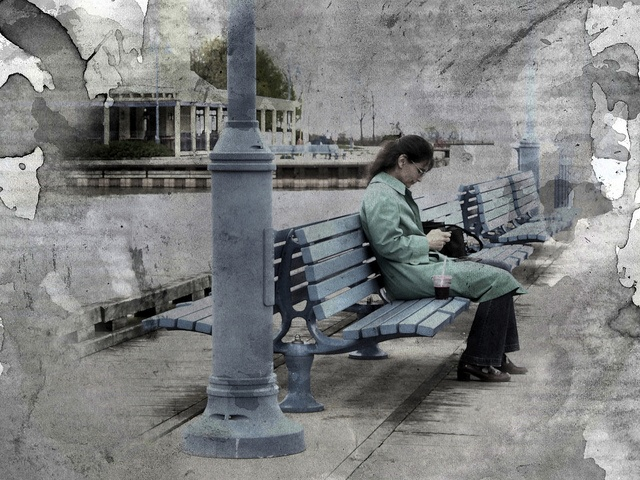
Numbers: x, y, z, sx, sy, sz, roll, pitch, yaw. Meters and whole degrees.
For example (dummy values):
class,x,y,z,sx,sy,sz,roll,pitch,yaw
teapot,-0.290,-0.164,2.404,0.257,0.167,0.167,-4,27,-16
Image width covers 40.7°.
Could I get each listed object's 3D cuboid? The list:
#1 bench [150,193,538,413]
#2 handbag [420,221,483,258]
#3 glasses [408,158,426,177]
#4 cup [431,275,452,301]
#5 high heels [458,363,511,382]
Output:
class,x,y,z,sx,sy,sz,roll,pitch,yaw
bench,0.256,0.365,6.708,1.849,1.281,3.055,6,13,20
handbag,1.030,0.006,6.883,0.456,0.206,0.379,9,8,19
glasses,0.717,-0.558,6.461,0.034,0.119,0.114,-38,-47,24
cup,0.866,0.341,6.192,0.140,0.168,0.151,0,-3,0
high heels,1.182,0.976,6.336,0.387,0.187,0.154,-3,8,4
